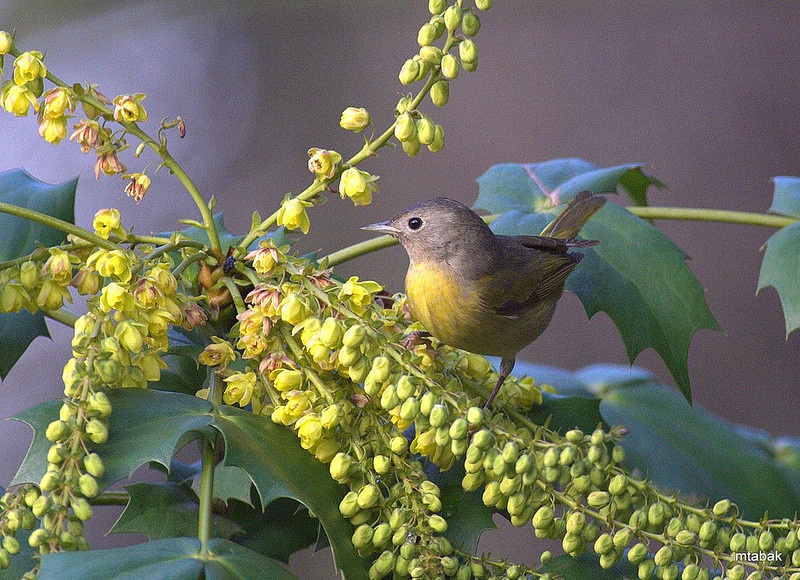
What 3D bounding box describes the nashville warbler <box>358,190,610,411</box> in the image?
[{"bbox_3d":[0.163,-0.009,1.917,0.442,0.319,0.271,-7,13,-27],"label":"nashville warbler"}]
